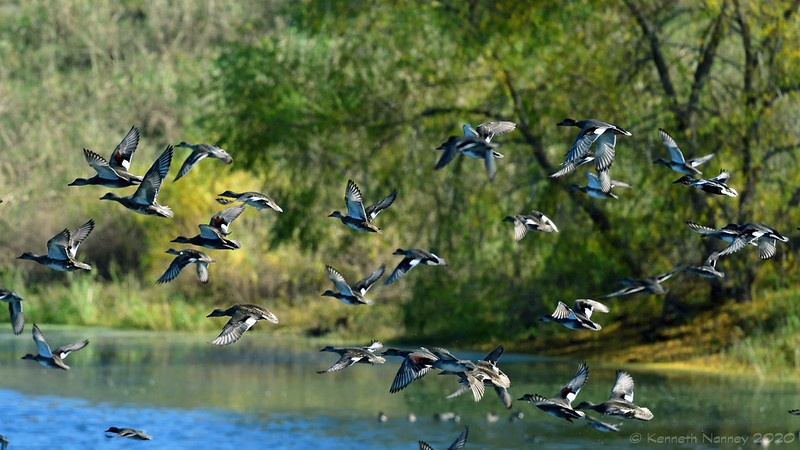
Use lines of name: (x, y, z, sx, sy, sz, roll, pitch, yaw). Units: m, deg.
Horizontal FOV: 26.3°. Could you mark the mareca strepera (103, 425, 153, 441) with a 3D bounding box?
mareca strepera: (-7.130, 5.338, 44.227, 0.969, 0.299, 0.672, -7, -13, 34)
